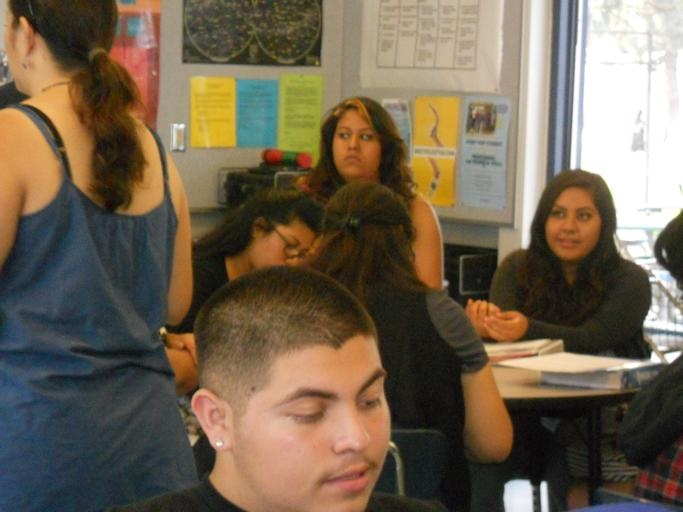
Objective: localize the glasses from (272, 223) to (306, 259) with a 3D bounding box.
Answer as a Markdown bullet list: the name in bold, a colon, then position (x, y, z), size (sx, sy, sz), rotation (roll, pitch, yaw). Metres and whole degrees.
- **glasses**: position (-0.155, -0.040, 2.024), size (0.083, 0.026, 0.085), rotation (40, 7, -36)
